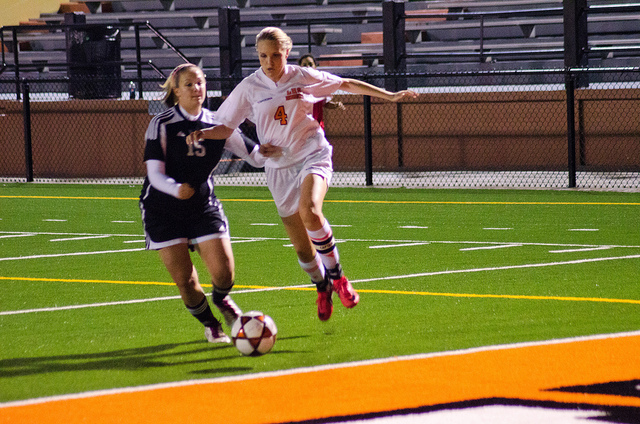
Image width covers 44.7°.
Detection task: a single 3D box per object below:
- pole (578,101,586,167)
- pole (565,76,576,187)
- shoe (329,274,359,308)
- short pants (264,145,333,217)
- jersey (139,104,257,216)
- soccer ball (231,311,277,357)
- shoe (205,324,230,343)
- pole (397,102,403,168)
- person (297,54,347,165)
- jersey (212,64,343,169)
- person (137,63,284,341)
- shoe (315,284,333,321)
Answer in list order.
[{"bbox_3d":[5.121,-1.526,15.226,0.132,1.310,0.727,0,10,19],"label":"pole"},{"bbox_3d":[4.545,-1.458,14.137,0.177,2.010,0.462,0,10,17],"label":"pole"},{"bbox_3d":[0.222,0.698,6.848,0.362,0.122,0.159,52,18,23],"label":"shoe"},{"bbox_3d":[-0.219,-0.319,7.045,0.459,0.667,1.056,-1,11,-2],"label":"short pants"},{"bbox_3d":[-1.034,-0.456,6.480,0.895,0.891,0.449,-11,13,-41],"label":"jersey"},{"bbox_3d":[-0.507,0.957,5.981,0.273,0.309,0.275,-3,10,0],"label":"soccer ball"},{"bbox_3d":[-0.831,1.001,6.329,0.092,0.103,0.246,-3,-1,-32],"label":"shoe"},{"bbox_3d":[1.735,-1.683,16.868,0.124,1.383,0.324,-2,9,6],"label":"pole"},{"bbox_3d":[-0.046,-0.992,7.299,0.571,0.972,0.339,7,38,17],"label":"person"},{"bbox_3d":[-0.303,-0.905,7.065,1.350,0.875,0.413,-10,10,-6],"label":"jersey"},{"bbox_3d":[-1.029,-0.096,6.545,0.898,2.270,0.995,-1,10,9],"label":"person"},{"bbox_3d":[0.049,0.803,6.798,0.130,0.295,0.128,-3,-5,28],"label":"shoe"}]
